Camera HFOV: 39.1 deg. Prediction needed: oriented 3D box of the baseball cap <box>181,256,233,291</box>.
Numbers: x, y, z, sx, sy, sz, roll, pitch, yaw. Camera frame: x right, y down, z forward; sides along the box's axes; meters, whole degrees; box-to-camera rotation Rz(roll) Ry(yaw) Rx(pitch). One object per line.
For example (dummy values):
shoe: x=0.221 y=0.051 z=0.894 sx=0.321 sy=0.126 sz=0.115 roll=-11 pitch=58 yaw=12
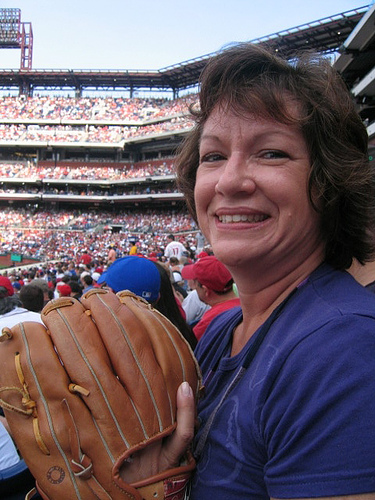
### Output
baseball cap: x=0.157 y=0.185 z=4.127 sx=0.367 sy=0.198 sz=0.234 roll=34 pitch=39 yaw=29

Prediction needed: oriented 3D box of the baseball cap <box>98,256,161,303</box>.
baseball cap: x=-0.329 y=0.127 z=3.066 sx=0.350 sy=0.177 sz=0.269 roll=7 pitch=26 yaw=27

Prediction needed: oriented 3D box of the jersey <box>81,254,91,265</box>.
jersey: x=-3.072 y=0.301 z=16.024 sx=0.209 sy=0.306 sz=0.619 roll=0 pitch=8 yaw=-15

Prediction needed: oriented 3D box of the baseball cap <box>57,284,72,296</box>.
baseball cap: x=-1.720 y=0.527 z=7.253 sx=0.194 sy=0.100 sz=0.133 roll=30 pitch=38 yaw=17

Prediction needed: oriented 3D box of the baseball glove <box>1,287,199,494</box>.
baseball glove: x=-0.253 y=0.364 z=1.586 sx=0.546 sy=0.544 sz=0.211 roll=-26 pitch=7 yaw=-4
